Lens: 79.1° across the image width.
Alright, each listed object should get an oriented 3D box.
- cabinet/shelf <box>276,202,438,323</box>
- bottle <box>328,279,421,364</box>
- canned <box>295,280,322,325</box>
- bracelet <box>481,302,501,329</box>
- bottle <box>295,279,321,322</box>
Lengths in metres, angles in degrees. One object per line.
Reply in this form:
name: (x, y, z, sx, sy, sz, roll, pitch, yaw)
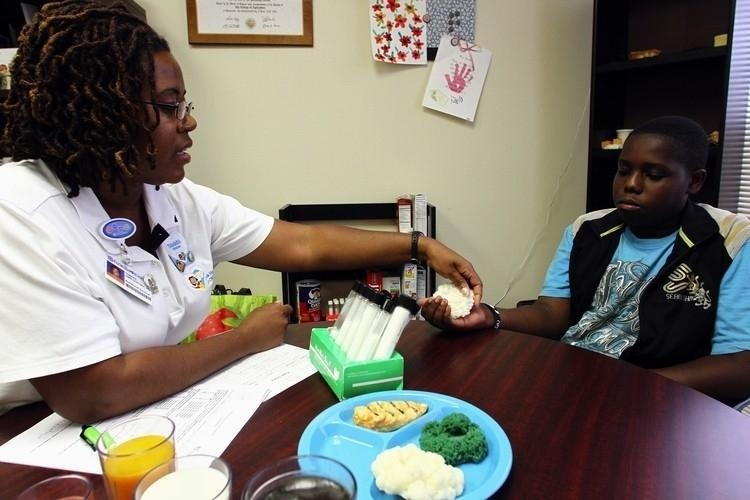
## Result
cabinet/shelf: (-0.085, 0.062, 1.931, 0.616, 0.706, 0.221, -1, 10, -3)
bottle: (-0.009, 0.198, 1.287, 0.220, 0.213, 0.202, 23, 4, -46)
canned: (-0.351, 0.269, 2.377, 0.127, 0.221, 0.137, 11, 17, 34)
bracelet: (0.428, 0.239, 1.647, 0.026, 0.084, 0.088, -10, -16, 18)
bottle: (-0.372, 0.281, 2.374, 0.135, 0.230, 0.143, -2, 3, 0)
